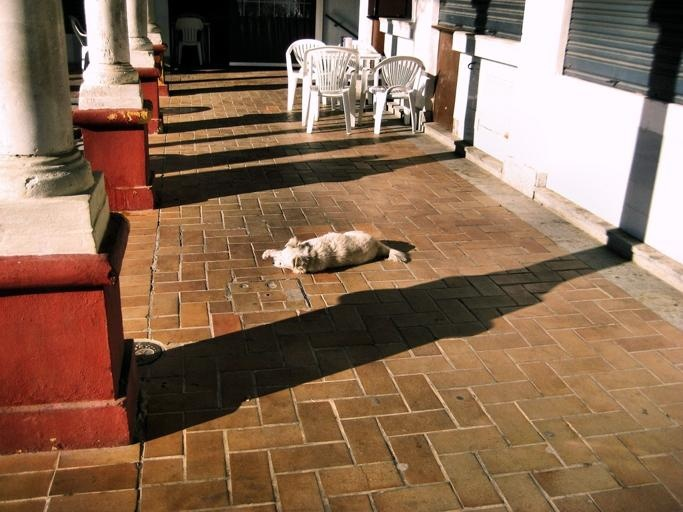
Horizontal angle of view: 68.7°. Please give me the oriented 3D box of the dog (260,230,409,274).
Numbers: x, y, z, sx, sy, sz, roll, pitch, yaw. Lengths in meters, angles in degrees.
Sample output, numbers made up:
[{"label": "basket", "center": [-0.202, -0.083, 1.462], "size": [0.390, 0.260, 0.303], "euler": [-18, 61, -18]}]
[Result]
[{"label": "dog", "center": [0.150, -0.071, 4.768], "size": [1.700, 0.471, 0.374], "euler": [-4, 68, -15]}]
